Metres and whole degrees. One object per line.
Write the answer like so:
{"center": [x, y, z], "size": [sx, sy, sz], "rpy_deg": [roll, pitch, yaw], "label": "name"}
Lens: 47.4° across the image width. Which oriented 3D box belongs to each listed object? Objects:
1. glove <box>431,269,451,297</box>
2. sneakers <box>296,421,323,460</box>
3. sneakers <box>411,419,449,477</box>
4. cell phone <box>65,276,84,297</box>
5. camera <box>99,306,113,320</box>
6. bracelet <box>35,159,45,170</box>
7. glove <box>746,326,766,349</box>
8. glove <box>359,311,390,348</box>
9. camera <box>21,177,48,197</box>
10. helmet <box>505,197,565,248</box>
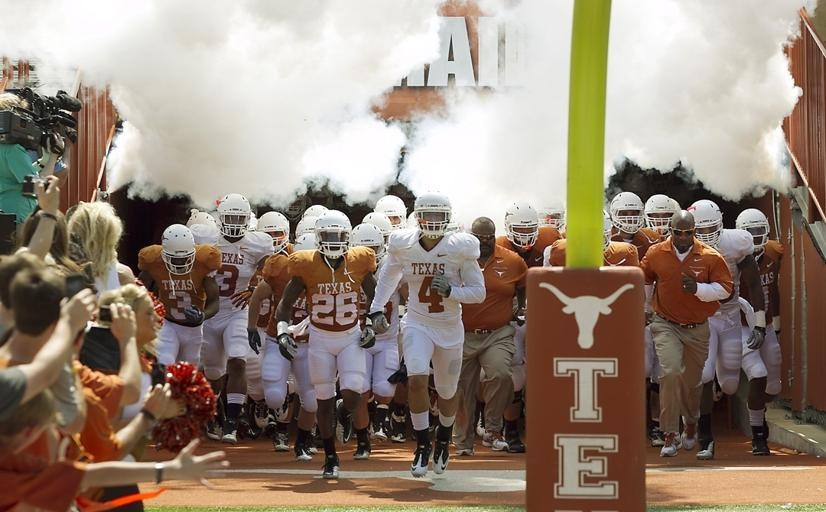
{"center": [0.243, 0.220, 7.865], "size": [0.146, 0.194, 0.088], "rpy_deg": [11, -33, -42], "label": "glove"}
{"center": [-1.016, 1.790, 8.974], "size": [0.163, 0.295, 0.427], "rpy_deg": [3, -9, -11], "label": "sneakers"}
{"center": [0.168, 1.640, 7.974], "size": [0.196, 0.589, 0.243], "rpy_deg": [1, -1, 0], "label": "sneakers"}
{"center": [-1.939, 0.174, 5.316], "size": [0.110, 0.198, 0.021], "rpy_deg": [6, -42, -18], "label": "cell phone"}
{"center": [-1.872, 0.342, 5.668], "size": [0.073, 0.074, 0.075], "rpy_deg": [3, 3, 22], "label": "camera"}
{"center": [-3.140, -0.764, 7.820], "size": [0.083, 0.042, 0.114], "rpy_deg": [21, -21, -2], "label": "bracelet"}
{"center": [3.407, 0.813, 9.135], "size": [0.193, 0.197, 0.099], "rpy_deg": [-28, -63, 21], "label": "glove"}
{"center": [-0.340, 0.633, 8.231], "size": [0.242, 0.344, 0.168], "rpy_deg": [22, 12, -6], "label": "glove"}
{"center": [-2.546, -0.463, 6.271], "size": [0.116, 0.144, 0.199], "rpy_deg": [0, 0, -4], "label": "camera"}
{"center": [1.168, -0.339, 9.478], "size": [0.323, 0.382, 0.458], "rpy_deg": [-3, 29, -4], "label": "helmet"}
